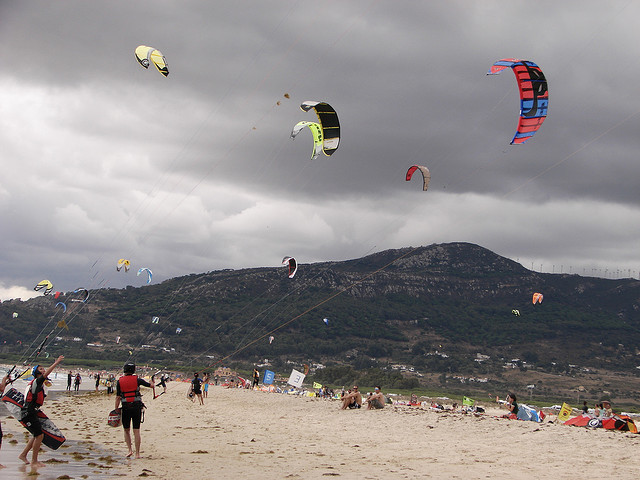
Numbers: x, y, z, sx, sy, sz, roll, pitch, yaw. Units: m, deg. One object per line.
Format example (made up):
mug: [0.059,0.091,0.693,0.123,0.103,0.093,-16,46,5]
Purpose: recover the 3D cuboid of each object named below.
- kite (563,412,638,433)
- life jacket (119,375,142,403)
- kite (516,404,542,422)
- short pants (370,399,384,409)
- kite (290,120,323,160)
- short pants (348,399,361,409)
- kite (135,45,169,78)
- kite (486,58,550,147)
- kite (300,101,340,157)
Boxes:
kite: [9.132,5.926,21.637,1.493,0.430,1.418,2,-2,6]
life jacket: [-5.038,3.902,17.583,0.551,0.736,0.271,2,11,-14]
kite: [8.267,6.743,26.376,0.810,0.350,1.036,14,-4,1]
short pants: [2.166,6.178,25.194,0.499,0.359,0.115,5,10,-1]
kite: [-0.348,-4.123,28.557,1.448,1.894,1.000,2,-20,20]
short pants: [1.365,6.352,25.845,0.391,0.384,0.260,1,7,-9]
kite: [-6.444,-6.874,25.432,0.663,0.949,1.741,-4,14,-39]
kite: [7.114,-4.787,23.285,1.635,2.757,1.028,7,11,10]
kite: [0.098,-4.410,26.464,0.909,1.982,1.355,10,12,27]
